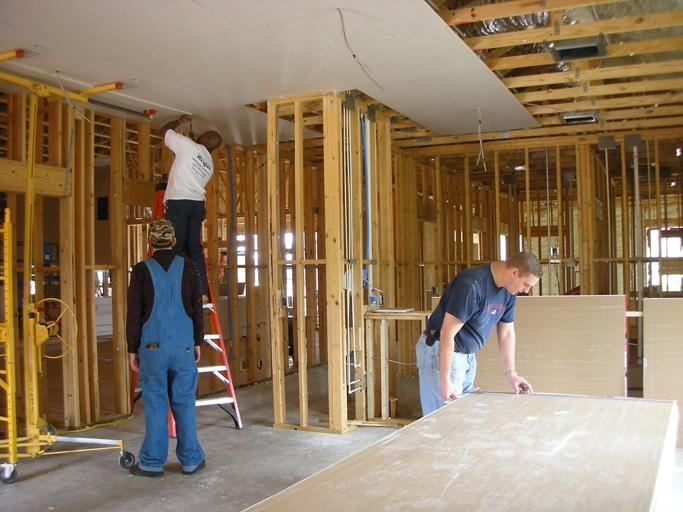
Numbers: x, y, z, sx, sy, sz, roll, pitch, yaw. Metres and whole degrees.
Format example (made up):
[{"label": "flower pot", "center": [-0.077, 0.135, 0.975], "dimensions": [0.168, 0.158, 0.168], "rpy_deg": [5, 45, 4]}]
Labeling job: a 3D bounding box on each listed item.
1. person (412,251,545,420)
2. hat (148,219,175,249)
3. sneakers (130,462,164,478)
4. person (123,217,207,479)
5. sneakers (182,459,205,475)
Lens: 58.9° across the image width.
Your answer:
[{"label": "person", "center": [0.866, 0.509, 3.859], "dimensions": [0.697, 1.092, 0.536], "rpy_deg": [-3, 10, -9]}, {"label": "hat", "center": [-1.466, -0.180, 5.037], "dimensions": [0.224, 0.247, 0.261], "rpy_deg": [0, 3, -3]}, {"label": "sneakers", "center": [-1.591, 1.760, 4.948], "dimensions": [0.290, 0.111, 0.099], "rpy_deg": [7, -2, 14]}, {"label": "person", "center": [-1.434, 0.783, 4.922], "dimensions": [0.533, 2.088, 0.541], "rpy_deg": [0, 11, 12]}, {"label": "sneakers", "center": [-1.222, 1.750, 5.036], "dimensions": [0.073, 0.083, 0.210], "rpy_deg": [3, 5, 26]}]
